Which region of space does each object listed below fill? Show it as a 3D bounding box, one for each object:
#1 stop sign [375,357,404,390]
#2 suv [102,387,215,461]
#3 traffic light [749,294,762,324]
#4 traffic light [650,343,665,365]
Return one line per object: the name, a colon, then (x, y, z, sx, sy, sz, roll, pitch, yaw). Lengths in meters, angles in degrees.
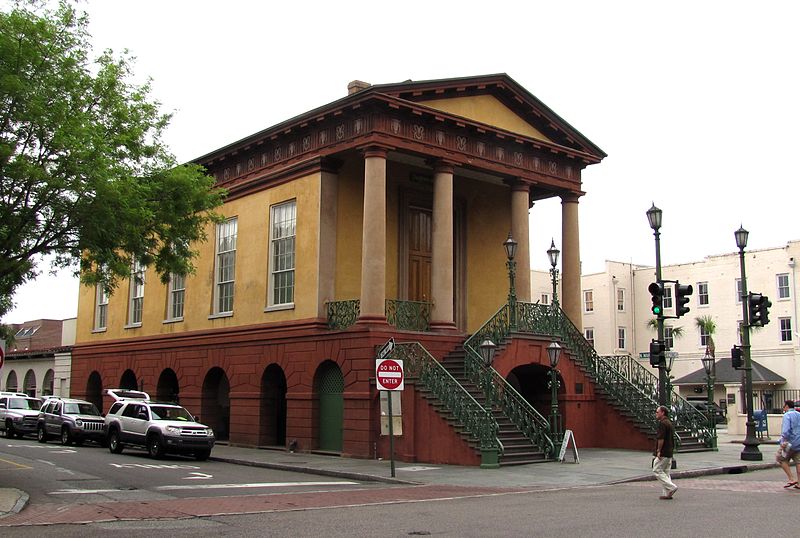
stop sign: (-0.308, 3.418, 22.635, 0.871, 1.030, 0.551, 2, -12, -11)
suv: (-10.164, 6.377, 29.219, 5.712, 2.750, 2.444, -7, -14, 39)
traffic light: (13.553, 1.512, 26.771, 0.488, 1.247, 1.115, -6, -13, 24)
traffic light: (9.045, 2.947, 24.722, 0.414, 0.916, 0.713, -5, -12, 20)
